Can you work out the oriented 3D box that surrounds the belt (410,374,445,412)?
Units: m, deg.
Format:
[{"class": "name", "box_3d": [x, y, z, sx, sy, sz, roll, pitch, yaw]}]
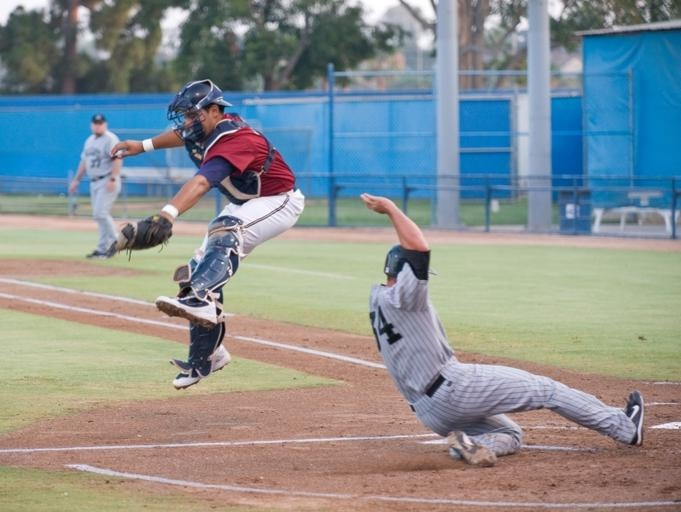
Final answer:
[{"class": "belt", "box_3d": [0.799, 1.244, 12.582, 0.343, 0.079, 0.335, -34, 4, 19]}]

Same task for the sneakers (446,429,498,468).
[{"class": "sneakers", "box_3d": [1.172, 1.765, 12.500, 0.484, 0.194, 0.234, 26, 61, 32]}]

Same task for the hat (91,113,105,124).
[{"class": "hat", "box_3d": [-3.381, -1.927, 19.458, 0.281, 0.119, 0.347, -1, 7, -10]}]

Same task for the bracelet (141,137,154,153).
[{"class": "bracelet", "box_3d": [-1.922, -1.125, 13.961, 0.141, 0.131, 0.167, 1, 17, -9]}]

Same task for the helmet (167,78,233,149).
[{"class": "helmet", "box_3d": [-1.408, -1.500, 13.651, 0.526, 0.499, 0.698, 18, 34, 38]}]

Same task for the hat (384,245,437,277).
[{"class": "hat", "box_3d": [0.625, 0.044, 12.604, 0.494, 0.218, 0.253, -3, 5, -8]}]

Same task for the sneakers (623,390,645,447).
[{"class": "sneakers", "box_3d": [2.756, 1.503, 12.711, 0.253, 0.469, 0.175, 13, -23, -31]}]
